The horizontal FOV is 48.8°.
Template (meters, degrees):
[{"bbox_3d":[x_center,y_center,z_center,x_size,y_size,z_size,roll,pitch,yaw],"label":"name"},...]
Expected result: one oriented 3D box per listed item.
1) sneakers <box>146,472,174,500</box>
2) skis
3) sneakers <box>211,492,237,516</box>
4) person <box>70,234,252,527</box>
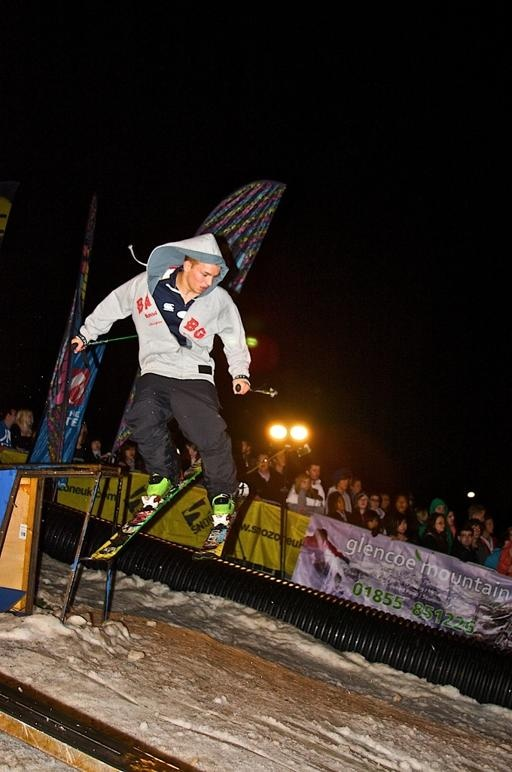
[{"bbox_3d":[-0.739,0.766,4.346,0.105,0.116,0.281,-2,10,11],"label":"sneakers"},{"bbox_3d":[-0.699,0.905,4.377,0.188,1.244,0.259,52,-24,-10],"label":"skis"},{"bbox_3d":[-0.243,0.936,4.474,0.157,0.176,0.197,7,-5,3],"label":"sneakers"},{"bbox_3d":[-0.614,-0.022,4.330,1.494,1.702,0.873,18,-9,-16],"label":"person"}]
